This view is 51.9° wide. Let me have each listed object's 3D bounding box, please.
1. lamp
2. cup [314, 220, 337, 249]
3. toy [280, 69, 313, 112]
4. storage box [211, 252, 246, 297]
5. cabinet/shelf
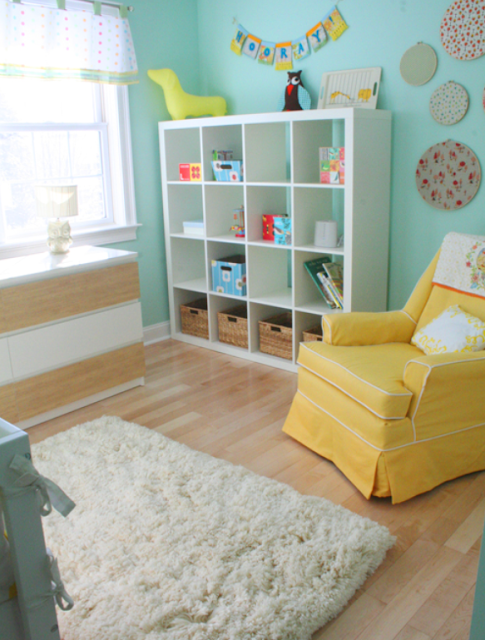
[{"bbox_3d":[-1.007,-0.545,2.735,0.196,0.372,0.240,-6,13,-22],"label":"lamp"},{"bbox_3d":[0.476,-0.486,2.869,0.168,0.167,0.102,5,13,30],"label":"cup"},{"bbox_3d":[0.314,-1.439,3.139,0.200,0.270,0.250,6,14,28],"label":"toy"},{"bbox_3d":[-0.033,-0.315,3.507,0.304,0.222,0.301,15,22,42],"label":"storage box"},{"bbox_3d":[0.213,-0.529,3.081,0.465,1.538,1.590,-15,19,-42],"label":"cabinet/shelf"}]
